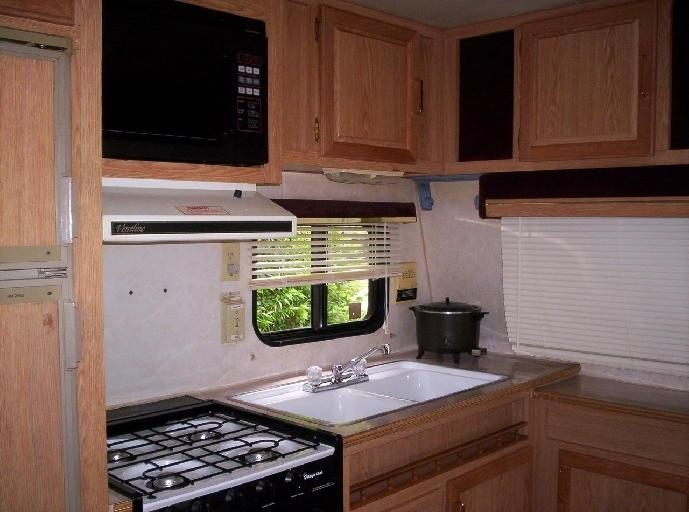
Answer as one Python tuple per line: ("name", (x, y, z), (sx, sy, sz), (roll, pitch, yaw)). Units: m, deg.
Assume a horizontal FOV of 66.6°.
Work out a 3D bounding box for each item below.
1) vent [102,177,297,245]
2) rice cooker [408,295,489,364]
("vent", (-0.573, -0.193, 1.853), (0.633, 0.216, 0.483), (-4, 11, -43))
("rice cooker", (0.590, 0.406, 2.935), (0.383, 0.338, 0.195), (-2, 5, 5))
